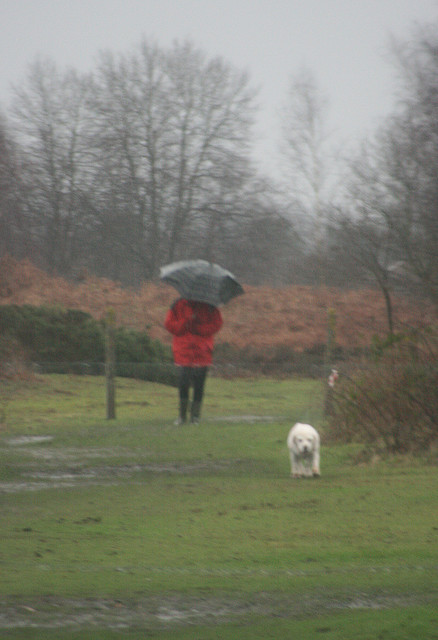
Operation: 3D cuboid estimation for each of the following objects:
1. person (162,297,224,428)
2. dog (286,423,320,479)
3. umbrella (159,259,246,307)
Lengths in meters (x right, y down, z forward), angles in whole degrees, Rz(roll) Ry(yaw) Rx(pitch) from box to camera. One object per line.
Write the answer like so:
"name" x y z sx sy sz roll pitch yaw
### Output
"person" -0.215 0.374 13.207 0.471 1.092 0.995 2 -2 -1
"dog" 0.621 0.948 11.156 0.235 0.390 0.297 4 -2 -29
"umbrella" -0.128 -0.312 12.993 0.688 0.388 0.505 3 -2 -4
